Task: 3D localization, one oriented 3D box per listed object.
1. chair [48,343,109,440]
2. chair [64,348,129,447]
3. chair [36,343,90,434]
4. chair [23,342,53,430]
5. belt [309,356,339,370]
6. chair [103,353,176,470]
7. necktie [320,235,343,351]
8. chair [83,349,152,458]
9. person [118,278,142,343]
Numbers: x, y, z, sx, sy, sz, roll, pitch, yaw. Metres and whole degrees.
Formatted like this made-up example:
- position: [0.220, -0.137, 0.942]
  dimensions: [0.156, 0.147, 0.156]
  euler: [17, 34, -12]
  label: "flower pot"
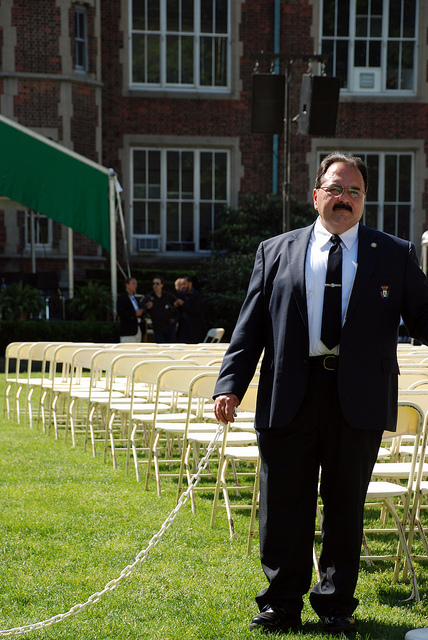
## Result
- position: [-1.315, 0.590, 13.361]
  dimensions: [0.424, 0.919, 0.467]
  euler: [-6, 10, -36]
  label: "chair"
- position: [-1.180, 0.653, 13.017]
  dimensions: [0.610, 1.270, 0.744]
  euler: [0, 2, -12]
  label: "chair"
- position: [-1.563, 0.550, 13.940]
  dimensions: [0.512, 1.170, 0.551]
  euler: [-7, 12, -43]
  label: "chair"
- position: [-1.755, 0.576, 13.915]
  dimensions: [0.275, 0.919, 0.311]
  euler: [3, 6, 40]
  label: "chair"
- position: [0.644, 0.258, 8.585]
  dimensions: [0.163, 0.079, 0.019]
  euler: [3, 4, 12]
  label: "belt"
- position: [-0.742, 0.749, 12.359]
  dimensions: [0.594, 1.079, 0.557]
  euler: [-6, 11, -42]
  label: "chair"
- position: [0.697, -0.131, 8.636]
  dimensions: [0.122, 0.611, 0.144]
  euler: [1, 3, 5]
  label: "necktie"
- position: [-0.936, 0.621, 12.500]
  dimensions: [0.478, 0.990, 0.505]
  euler: [-7, 11, -38]
  label: "chair"
- position: [-1.055, -0.108, 18.239]
  dimensions: [0.263, 0.783, 0.915]
  euler: [1, 4, -3]
  label: "person"
